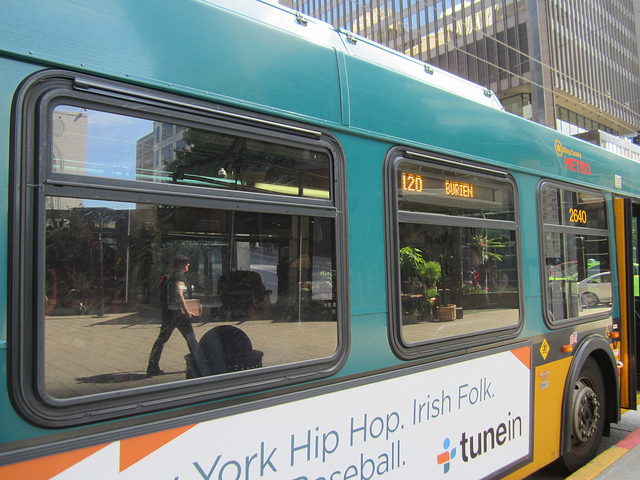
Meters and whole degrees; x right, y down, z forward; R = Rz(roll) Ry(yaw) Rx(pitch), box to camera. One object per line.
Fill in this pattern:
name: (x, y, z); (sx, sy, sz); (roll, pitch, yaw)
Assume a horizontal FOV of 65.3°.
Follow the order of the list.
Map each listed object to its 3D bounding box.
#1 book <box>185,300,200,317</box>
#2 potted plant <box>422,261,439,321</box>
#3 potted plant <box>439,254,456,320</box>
book: (-0.639, 0.340, 2.528); (0.073, 0.034, 0.072); (0, 4, -23)
potted plant: (0.757, 0.352, 3.474); (0.141, 0.401, 0.141); (4, -4, 14)
potted plant: (0.869, 0.323, 3.548); (0.123, 0.476, 0.149); (-4, -11, 7)
